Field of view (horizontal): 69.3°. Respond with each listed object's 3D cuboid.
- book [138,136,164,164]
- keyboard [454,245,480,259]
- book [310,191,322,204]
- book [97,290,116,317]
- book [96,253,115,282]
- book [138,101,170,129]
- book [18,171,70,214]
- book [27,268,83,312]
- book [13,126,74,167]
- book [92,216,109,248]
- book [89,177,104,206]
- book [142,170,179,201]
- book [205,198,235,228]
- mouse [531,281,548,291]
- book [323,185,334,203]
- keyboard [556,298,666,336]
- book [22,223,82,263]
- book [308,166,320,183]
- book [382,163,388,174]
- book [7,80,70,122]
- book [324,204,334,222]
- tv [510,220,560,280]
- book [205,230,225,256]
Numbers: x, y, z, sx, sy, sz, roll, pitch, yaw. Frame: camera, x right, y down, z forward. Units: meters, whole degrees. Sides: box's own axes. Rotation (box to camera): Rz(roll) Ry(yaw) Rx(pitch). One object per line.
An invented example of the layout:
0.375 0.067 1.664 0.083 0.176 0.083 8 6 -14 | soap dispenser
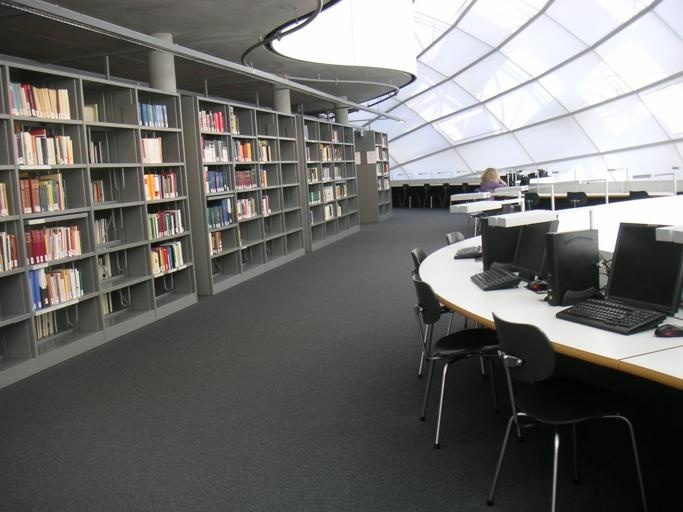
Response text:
-2.259 -1.264 5.858 0.223 0.372 0.406 -1 9 -4 | book
1.134 -0.024 4.480 0.154 0.057 0.163 1 13 19 | keyboard
-0.550 -1.226 10.246 0.156 0.285 0.302 0 7 18 | book
-2.644 0.534 5.568 0.242 0.250 0.258 -3 2 -3 | book
-2.663 0.133 5.578 0.099 0.297 0.299 -5 10 -7 | book
-2.217 -1.680 5.882 0.242 0.423 0.442 1 12 10 | book
-2.745 -0.582 4.581 0.279 0.347 0.482 -7 11 -20 | book
-2.676 0.275 4.682 0.120 0.366 0.528 -2 10 11 | book
-2.724 -1.025 4.583 0.307 0.362 0.708 -5 10 -11 | book
-2.623 -0.258 5.397 0.183 0.318 0.343 -1 5 -10 | book
-2.697 -0.733 5.527 0.113 0.260 0.296 -8 11 -22 | book
-2.184 -0.844 5.953 0.158 0.390 0.417 1 5 22 | book
-1.695 -0.602 7.023 0.379 0.504 0.522 -7 15 -17 | book
1.304 0.200 3.296 0.057 0.038 0.100 6 15 23 | mouse
-0.314 -1.365 10.832 0.241 0.416 0.440 0 4 19 | book
1.447 0.331 2.715 0.285 0.080 0.464 -10 12 -34 | keyboard
-2.682 -0.120 4.655 0.060 0.323 0.564 0 10 17 | book
-0.596 -1.708 10.312 0.050 0.315 0.443 -1 4 20 | book
1.295 -2.709 15.163 0.168 0.351 0.369 -1 4 9 | book
-2.721 -1.412 4.527 0.133 0.306 0.629 -2 10 11 | book
-0.300 -0.969 10.857 0.215 0.400 0.417 -1 3 12 | book
1.330 -0.038 3.419 0.143 0.410 0.367 17 6 -12 | tv
-1.765 -0.188 7.013 0.262 0.457 0.470 -4 4 -4 | book
